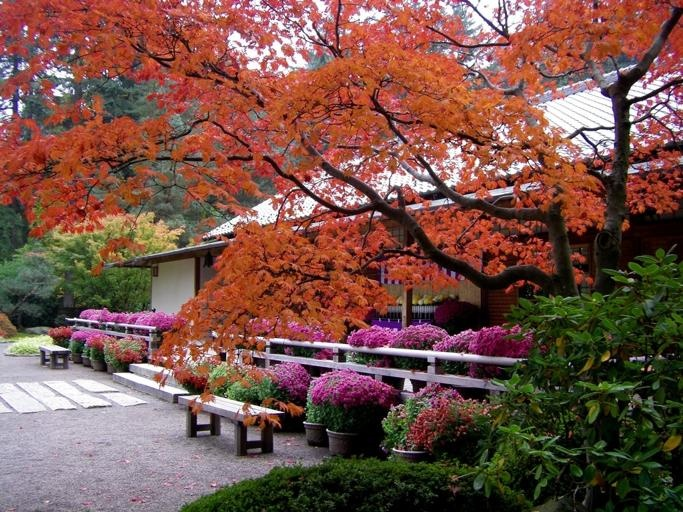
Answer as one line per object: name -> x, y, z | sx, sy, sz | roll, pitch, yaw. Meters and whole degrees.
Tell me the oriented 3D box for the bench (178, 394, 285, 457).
bench -> -1.600, 2.417, 7.912 | 0.526, 0.543, 1.779 | 10, -11, -41
